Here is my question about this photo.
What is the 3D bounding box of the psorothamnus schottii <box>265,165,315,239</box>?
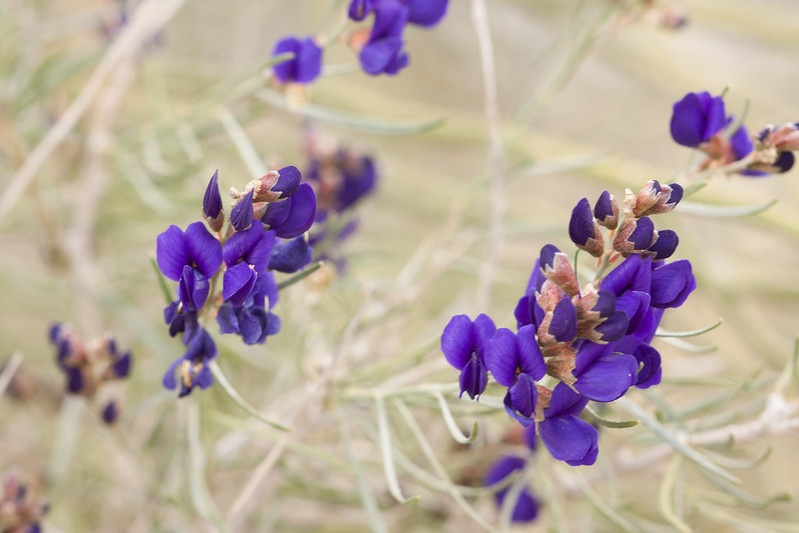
[{"bbox_3d":[-0.113,-0.064,0.934,0.039,0.072,0.043,-12,33,-39],"label":"psorothamnus schottii"}]
